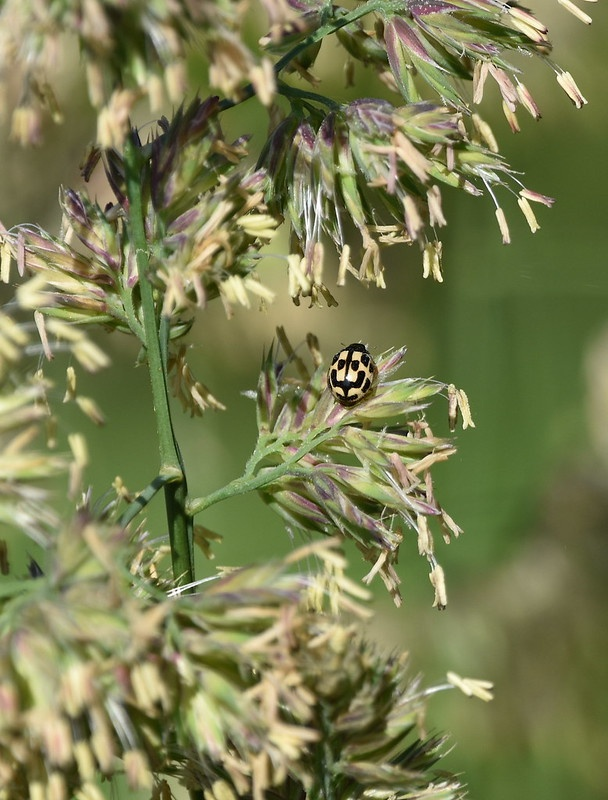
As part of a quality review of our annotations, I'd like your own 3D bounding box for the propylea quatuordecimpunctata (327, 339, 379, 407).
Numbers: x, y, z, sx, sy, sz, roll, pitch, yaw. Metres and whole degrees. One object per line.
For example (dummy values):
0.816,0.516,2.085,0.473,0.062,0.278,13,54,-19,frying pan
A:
0.061,-0.036,1.081,0.056,0.076,0.027,8,-27,22,propylea quatuordecimpunctata
